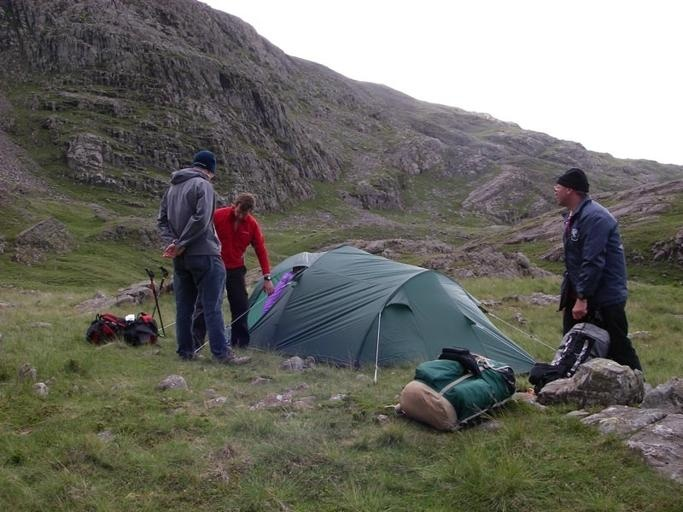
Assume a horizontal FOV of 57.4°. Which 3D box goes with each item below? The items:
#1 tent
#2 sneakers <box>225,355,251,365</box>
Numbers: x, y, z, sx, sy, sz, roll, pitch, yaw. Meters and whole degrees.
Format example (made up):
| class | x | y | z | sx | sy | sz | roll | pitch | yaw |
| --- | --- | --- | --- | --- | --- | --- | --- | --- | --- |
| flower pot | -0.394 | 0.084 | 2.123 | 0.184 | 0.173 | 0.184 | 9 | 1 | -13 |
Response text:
| class | x | y | z | sx | sy | sz | roll | pitch | yaw |
| --- | --- | --- | --- | --- | --- | --- | --- | --- | --- |
| tent | 0.920 | 1.443 | 17.436 | 7.044 | 3.479 | 2.248 | 5 | -1 | 19 |
| sneakers | -2.627 | 2.684 | 16.070 | 0.748 | 0.242 | 0.222 | -3 | 0 | 1 |
